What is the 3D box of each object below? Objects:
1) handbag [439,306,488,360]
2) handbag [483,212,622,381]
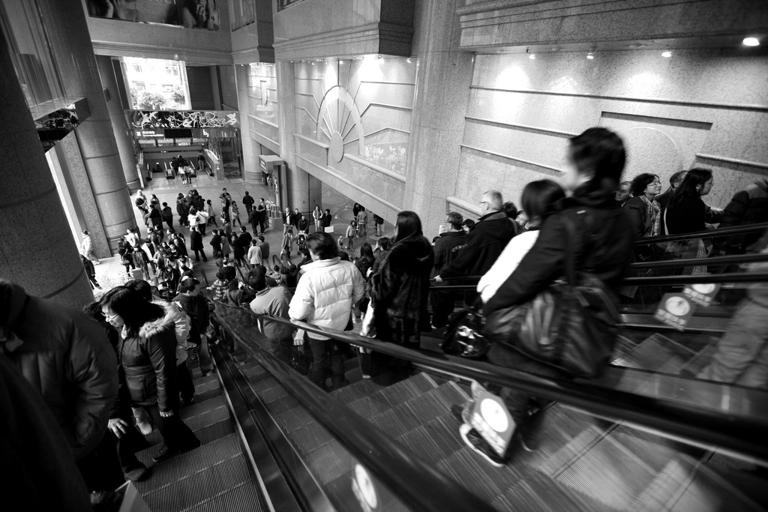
[{"bbox_3d":[0.682,0.671,3.720,0.287,0.135,0.413,-9,33,16],"label":"handbag"},{"bbox_3d":[1.217,0.324,3.112,0.573,0.984,0.947,31,-3,-26],"label":"handbag"}]
